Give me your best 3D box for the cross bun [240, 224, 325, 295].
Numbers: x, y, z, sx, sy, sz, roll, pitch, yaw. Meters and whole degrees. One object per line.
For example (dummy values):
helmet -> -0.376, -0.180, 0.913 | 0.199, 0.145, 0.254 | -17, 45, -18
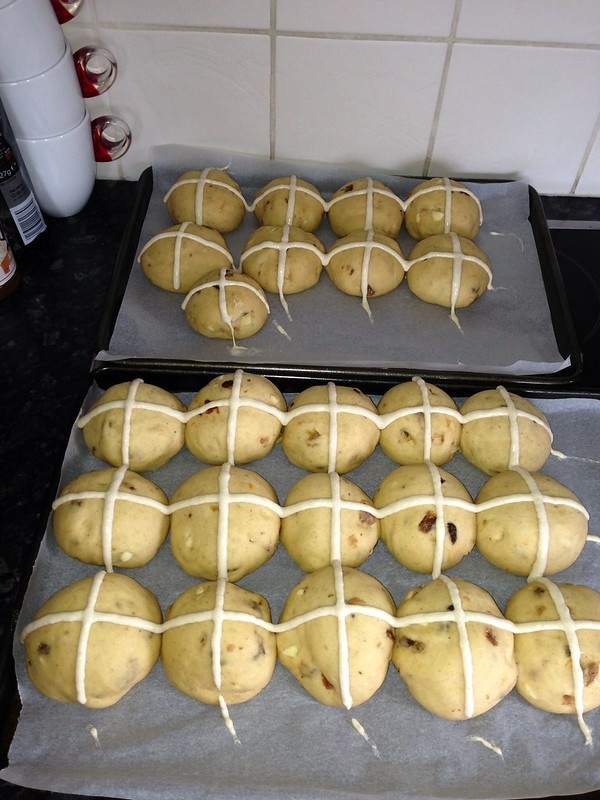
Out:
cross bun -> -0.032, -0.229, 1.167 | 0.136, 0.077, 0.110 | 3, 57, 1

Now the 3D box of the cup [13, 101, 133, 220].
cup -> -0.368, -0.413, 1.227 | 0.152, 0.166, 0.146 | 1, 56, -2

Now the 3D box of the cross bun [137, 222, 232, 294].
cross bun -> -0.186, -0.234, 1.140 | 0.127, 0.045, 0.114 | -8, 55, -6

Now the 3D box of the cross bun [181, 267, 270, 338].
cross bun -> -0.123, -0.154, 1.105 | 0.136, 0.050, 0.133 | 33, 47, 22

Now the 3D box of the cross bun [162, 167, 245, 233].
cross bun -> -0.165, -0.331, 1.258 | 0.121, 0.072, 0.117 | -17, 72, -4

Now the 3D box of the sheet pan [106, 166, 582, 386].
sheet pan -> 0.075, -0.177, 1.114 | 0.633, 0.087, 0.391 | 1, 61, -1

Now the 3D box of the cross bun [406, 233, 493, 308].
cross bun -> 0.244, -0.213, 1.166 | 0.136, 0.069, 0.118 | 9, 57, 5
